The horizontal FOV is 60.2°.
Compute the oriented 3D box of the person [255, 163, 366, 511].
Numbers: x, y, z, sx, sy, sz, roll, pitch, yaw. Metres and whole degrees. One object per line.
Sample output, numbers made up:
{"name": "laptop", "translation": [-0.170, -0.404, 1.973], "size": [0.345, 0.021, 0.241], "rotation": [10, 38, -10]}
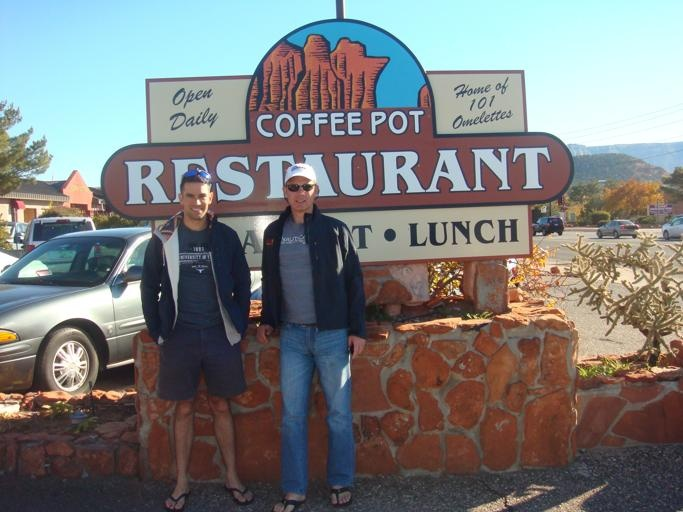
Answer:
{"name": "person", "translation": [-0.238, 0.795, 4.784], "size": [0.831, 2.430, 0.410], "rotation": [-1, 3, -10]}

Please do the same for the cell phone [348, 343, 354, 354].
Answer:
{"name": "cell phone", "translation": [0.079, 0.754, 4.773], "size": [0.020, 0.086, 0.059], "rotation": [-7, 0, 13]}

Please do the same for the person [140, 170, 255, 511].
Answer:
{"name": "person", "translation": [-1.157, 0.676, 4.769], "size": [0.868, 2.723, 0.373], "rotation": [-1, 3, -17]}
